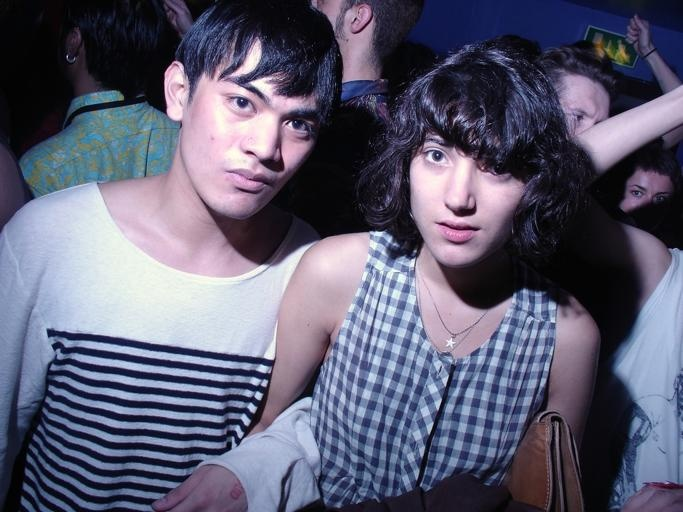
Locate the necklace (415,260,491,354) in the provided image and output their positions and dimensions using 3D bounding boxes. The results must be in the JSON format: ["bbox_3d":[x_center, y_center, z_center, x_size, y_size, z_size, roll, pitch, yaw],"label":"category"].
[{"bbox_3d":[0.392,0.185,1.964,0.211,0.220,0.014,22,2,6],"label":"necklace"}]
